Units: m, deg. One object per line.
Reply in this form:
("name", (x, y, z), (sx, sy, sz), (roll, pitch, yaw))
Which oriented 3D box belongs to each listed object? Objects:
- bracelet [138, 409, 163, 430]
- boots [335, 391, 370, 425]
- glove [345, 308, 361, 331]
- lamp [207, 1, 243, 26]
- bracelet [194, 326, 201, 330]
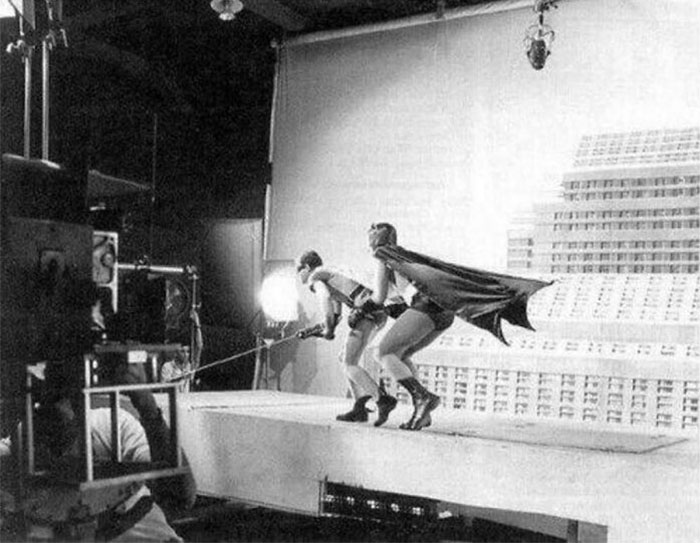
("bracelet", (-0.926, 0.698, 5.682), (0.089, 0.089, 0.071), (-11, -7, 8))
("boots", (0.032, 0.643, 5.617), (0.195, 0.154, 0.081), (1, -10, 12))
("glove", (0.021, 0.223, 5.539), (0.065, 0.096, 0.030), (17, 5, 34))
("lamp", (-0.582, -1.226, 5.770), (0.111, 0.067, 0.120), (1, -41, -8))
("bracelet", (-0.703, 0.264, 5.660), (0.012, 0.014, 0.033), (10, -12, -31))
